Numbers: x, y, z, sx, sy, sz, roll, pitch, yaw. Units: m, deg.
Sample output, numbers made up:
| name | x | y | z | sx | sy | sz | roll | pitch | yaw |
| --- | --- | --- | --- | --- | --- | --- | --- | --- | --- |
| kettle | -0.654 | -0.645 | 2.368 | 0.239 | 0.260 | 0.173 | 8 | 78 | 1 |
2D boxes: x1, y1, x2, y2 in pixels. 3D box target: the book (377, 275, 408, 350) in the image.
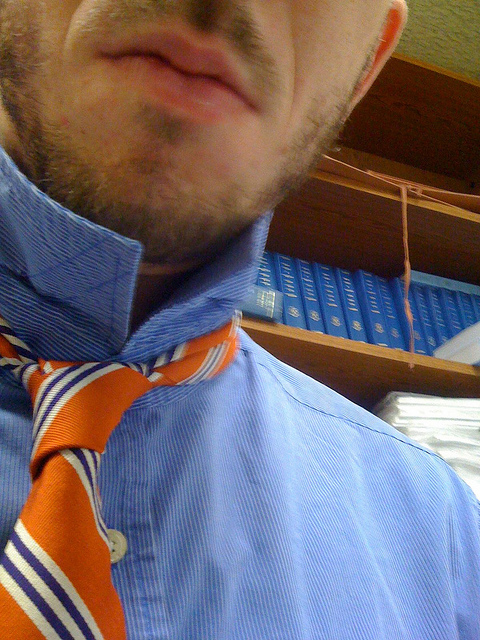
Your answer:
| name | x | y | z | sx | sy | sz | roll | pitch | yaw |
| --- | --- | --- | --- | --- | --- | --- | --- | --- | --- |
| book | 0.310 | -0.012 | 1.255 | 0.051 | 0.118 | 0.116 | -16 | 37 | -2 |

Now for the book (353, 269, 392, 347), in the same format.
| name | x | y | z | sx | sy | sz | roll | pitch | yaw |
| --- | --- | --- | --- | --- | --- | --- | --- | --- | --- |
| book | 0.266 | -0.021 | 1.252 | 0.058 | 0.144 | 0.125 | -21 | 76 | 2 |

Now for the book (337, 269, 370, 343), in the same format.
| name | x | y | z | sx | sy | sz | roll | pitch | yaw |
| --- | --- | --- | --- | --- | --- | --- | --- | --- | --- |
| book | 0.228 | -0.025 | 1.241 | 0.048 | 0.119 | 0.107 | -19 | 60 | -2 |

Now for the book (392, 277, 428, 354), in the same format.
| name | x | y | z | sx | sy | sz | roll | pitch | yaw |
| --- | --- | --- | --- | --- | --- | --- | --- | --- | --- |
| book | 0.345 | -0.005 | 1.265 | 0.052 | 0.122 | 0.116 | -13 | 47 | -1 |

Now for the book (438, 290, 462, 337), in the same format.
| name | x | y | z | sx | sy | sz | roll | pitch | yaw |
| --- | --- | --- | --- | --- | --- | --- | --- | --- | --- |
| book | 0.470 | -0.018 | 1.362 | 0.069 | 0.030 | 0.109 | 2 | 83 | -25 |
